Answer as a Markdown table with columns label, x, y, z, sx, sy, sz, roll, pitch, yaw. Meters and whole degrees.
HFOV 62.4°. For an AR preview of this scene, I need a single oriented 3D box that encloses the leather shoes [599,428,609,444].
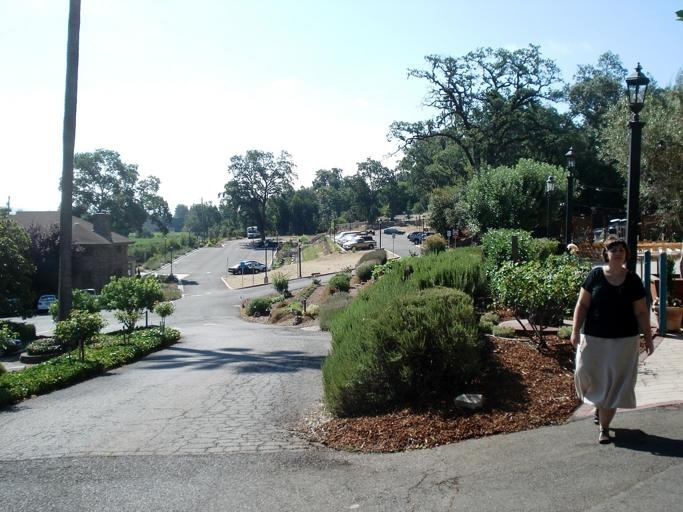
| label | x | y | z | sx | sy | sz | roll | pitch | yaw |
| --- | --- | --- | --- | --- | --- | --- | --- | --- | --- |
| leather shoes | 3.204 | 2.196 | 6.871 | 0.074 | 0.098 | 0.238 | 0 | 31 | 22 |

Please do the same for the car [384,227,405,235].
| label | x | y | z | sx | sy | sz | roll | pitch | yaw |
| --- | --- | --- | --- | --- | --- | --- | --- | --- | --- |
| car | 7.891 | -3.752 | 86.164 | 2.434 | 0.820 | 1.529 | 1 | 10 | 6 |

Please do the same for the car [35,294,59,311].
| label | x | y | z | sx | sy | sz | roll | pitch | yaw |
| --- | --- | --- | --- | --- | --- | --- | --- | --- | --- |
| car | -20.743 | 3.304 | 39.511 | 1.150 | 0.979 | 4.549 | -11 | 10 | -29 |

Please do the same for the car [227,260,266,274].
| label | x | y | z | sx | sy | sz | roll | pitch | yaw |
| --- | --- | --- | --- | --- | --- | --- | --- | --- | --- |
| car | -10.413 | 1.481 | 61.744 | 3.728 | 1.364 | 1.924 | 1 | 0 | 4 |

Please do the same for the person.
| label | x | y | z | sx | sy | sz | roll | pitch | yaw |
| --- | --- | --- | --- | --- | --- | --- | --- | --- | --- |
| person | 3.372 | 0.996 | 7.073 | 0.845 | 2.352 | 0.626 | -8 | 9 | -18 |

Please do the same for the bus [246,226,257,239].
| label | x | y | z | sx | sy | sz | roll | pitch | yaw |
| --- | --- | --- | --- | --- | --- | --- | --- | --- | --- |
| bus | -15.960 | -4.150 | 100.565 | 1.599 | 1.677 | 5.192 | -1 | 1 | -5 |
